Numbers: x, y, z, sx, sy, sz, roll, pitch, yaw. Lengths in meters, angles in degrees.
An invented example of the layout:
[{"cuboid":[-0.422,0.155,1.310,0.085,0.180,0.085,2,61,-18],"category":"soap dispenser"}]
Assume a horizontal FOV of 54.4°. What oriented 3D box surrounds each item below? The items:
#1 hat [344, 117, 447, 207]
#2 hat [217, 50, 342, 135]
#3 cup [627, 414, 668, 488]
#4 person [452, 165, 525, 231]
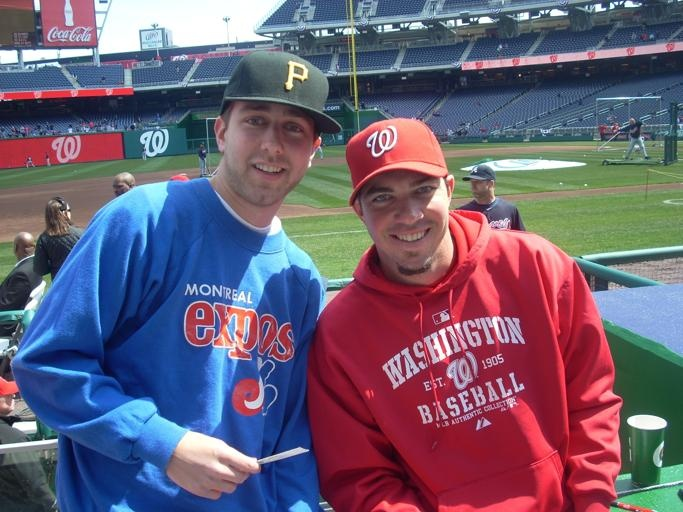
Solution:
[{"cuboid":[0.213,-0.402,2.763,0.318,0.222,0.418,-19,4,11],"category":"hat"},{"cuboid":[-0.240,-0.673,2.679,0.341,0.215,0.408,11,3,-34],"category":"hat"},{"cuboid":[1.312,0.845,2.868,0.146,0.277,0.193,3,7,23],"category":"cup"},{"cuboid":[1.585,-0.521,7.143,0.867,0.920,0.537,2,7,43],"category":"person"}]
